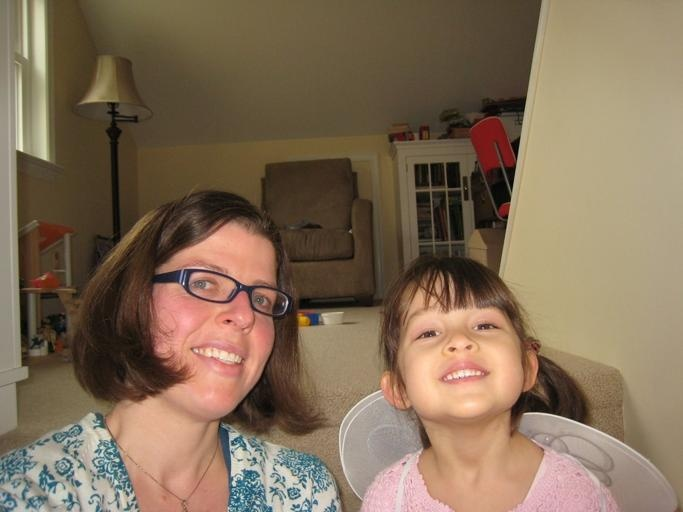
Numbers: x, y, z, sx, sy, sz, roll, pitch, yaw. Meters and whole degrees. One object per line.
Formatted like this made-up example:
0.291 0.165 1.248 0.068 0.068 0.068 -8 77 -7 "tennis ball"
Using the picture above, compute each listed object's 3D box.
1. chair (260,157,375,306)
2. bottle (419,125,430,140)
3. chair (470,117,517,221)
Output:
-0.258 -0.204 4.588 0.895 1.302 1.180 -4 2 -1 "chair"
0.777 -1.164 4.956 0.084 0.146 0.097 -1 2 20 "bottle"
1.049 -0.578 3.625 0.280 0.676 1.008 -1 3 19 "chair"
